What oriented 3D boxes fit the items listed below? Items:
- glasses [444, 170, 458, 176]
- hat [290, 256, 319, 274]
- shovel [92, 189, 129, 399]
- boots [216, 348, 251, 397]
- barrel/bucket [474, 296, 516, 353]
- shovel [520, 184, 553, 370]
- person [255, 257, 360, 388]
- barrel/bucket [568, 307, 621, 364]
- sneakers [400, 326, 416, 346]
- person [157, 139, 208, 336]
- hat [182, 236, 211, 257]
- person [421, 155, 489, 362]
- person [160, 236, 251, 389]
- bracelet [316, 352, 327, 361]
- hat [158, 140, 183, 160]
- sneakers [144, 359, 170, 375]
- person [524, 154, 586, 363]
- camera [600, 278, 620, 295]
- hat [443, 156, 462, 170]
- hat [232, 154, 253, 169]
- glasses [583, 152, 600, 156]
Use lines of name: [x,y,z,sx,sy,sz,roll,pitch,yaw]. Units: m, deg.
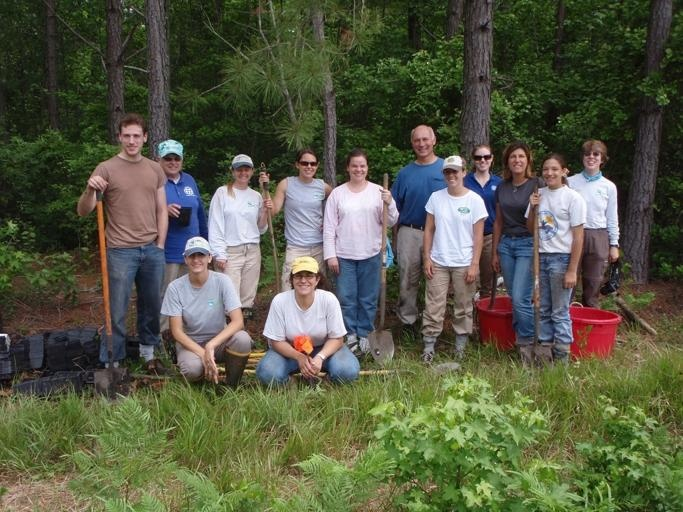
glasses: [1.168,-0.893,7.150,0.157,0.068,0.066,-1,5,14]
hat: [-0.369,0.103,6.529,0.250,0.164,0.149,-4,5,-19]
shovel: [-2.337,0.378,6.620,0.314,2.011,0.781,-4,5,-21]
boots: [-1.060,1.116,6.634,0.273,0.417,0.194,0,5,16]
barrel/bucket: [1.761,0.756,7.635,0.468,0.509,0.549,-1,0,2]
shovel: [1.978,0.323,7.012,0.295,2.255,0.458,15,-28,-13]
person: [-0.321,0.661,6.633,1.011,1.207,0.964,5,12,22]
barrel/bucket: [2.708,0.888,7.312,0.562,0.409,0.553,5,3,0]
sneakers: [0.774,0.916,7.810,0.196,0.192,0.318,-1,5,7]
person: [-1.811,-0.084,7.610,0.732,2.369,0.663,-5,9,-32]
hat: [-1.435,-0.089,6.627,0.231,0.178,0.184,-2,5,-4]
person: [1.208,0.027,7.230,0.692,2.202,0.474,-1,5,12]
person: [-1.354,0.538,6.622,0.812,1.424,0.469,-3,5,-17]
bracelet: [-0.198,1.009,6.601,0.095,0.102,0.067,24,42,-9]
hat: [-1.919,-1.187,7.453,0.191,0.150,0.265,0,1,-15]
sneakers: [-1.860,1.163,6.950,0.378,0.171,0.127,-1,-2,12]
person: [2.246,0.030,6.888,0.446,2.128,0.294,0,5,21]
camera: [3.295,0.388,8.248,0.117,0.125,0.213,-40,2,-26]
hat: [1.218,-0.994,7.189,0.261,0.164,0.213,-3,5,-13]
hat: [-1.151,-1.098,7.650,0.209,0.176,0.306,-1,-13,-14]
glasses: [2.816,-1.147,7.556,0.170,0.071,0.070,0,5,17]
